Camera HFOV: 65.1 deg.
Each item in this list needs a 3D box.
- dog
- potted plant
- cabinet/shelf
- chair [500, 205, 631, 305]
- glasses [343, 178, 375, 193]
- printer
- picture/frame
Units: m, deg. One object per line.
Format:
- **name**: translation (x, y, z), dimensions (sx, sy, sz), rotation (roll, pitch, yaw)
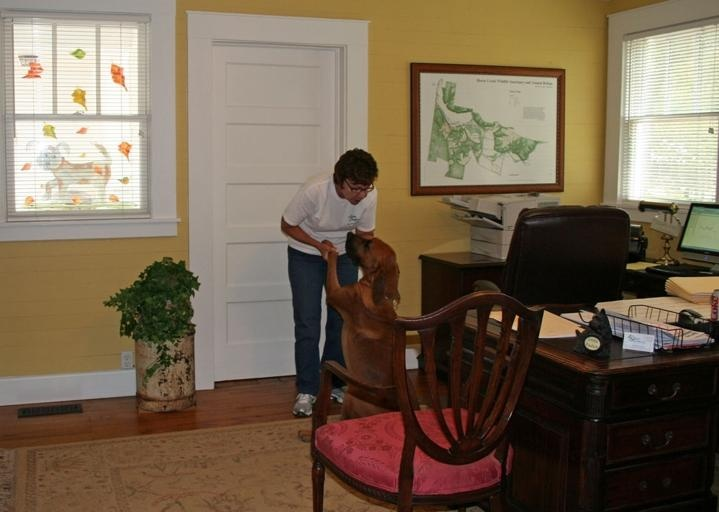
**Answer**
- **dog**: translation (0.027, 0.312, 2.612), dimensions (0.441, 1.003, 0.297), rotation (-2, -4, 33)
- **potted plant**: translation (-1.391, 0.552, 3.943), dimensions (0.554, 1.052, 0.288), rotation (-3, 10, -18)
- **cabinet/shelf**: translation (0.631, 0.356, 4.686), dimensions (0.651, 1.024, 0.733), rotation (-5, 14, -24)
- **chair**: translation (1.003, -0.051, 3.064), dimensions (0.544, 0.747, 0.558), rotation (-1, 12, -5)
- **glasses**: translation (-0.014, -0.429, 3.440), dimensions (0.096, 0.032, 0.100), rotation (2, 36, -31)
- **printer**: translation (1.176, -0.277, 4.637), dimensions (0.725, 0.493, 0.527), rotation (-3, 6, -27)
- **picture/frame**: translation (1.038, -1.121, 4.847), dimensions (1.224, 0.925, 0.025), rotation (-1, 6, -18)
